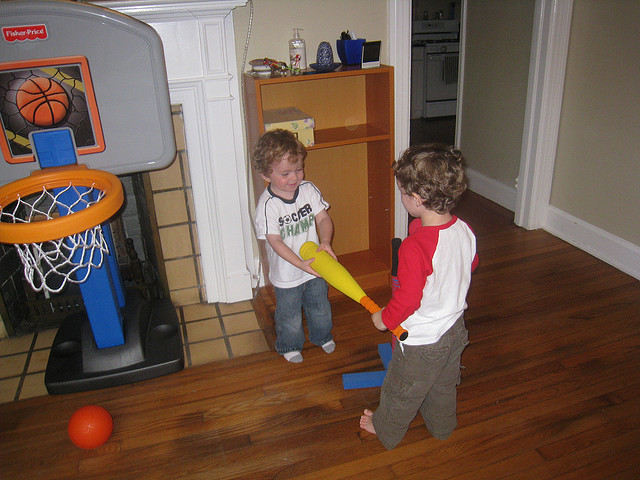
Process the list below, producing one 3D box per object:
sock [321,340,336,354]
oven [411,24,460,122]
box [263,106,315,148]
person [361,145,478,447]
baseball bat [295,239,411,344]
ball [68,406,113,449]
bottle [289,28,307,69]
[{"bbox_3d":[0.049,0.548,2.542,0.060,0.035,0.050,-13,27,-16],"label":"sock"},{"bbox_3d":[1.496,-2.163,6.435,0.634,1.133,0.319,-4,25,1],"label":"oven"},{"bbox_3d":[-0.168,-0.599,2.630,0.252,0.168,0.389,-7,26,-5],"label":"box"},{"bbox_3d":[0.390,0.257,1.957,0.502,1.188,0.327,-22,30,-33],"label":"person"},{"bbox_3d":[0.149,0.267,2.378,0.130,0.131,0.672,-39,56,-9],"label":"baseball bat"},{"bbox_3d":[-0.973,0.802,2.107,0.182,0.106,0.265,3,19,-15],"label":"ball"},{"bbox_3d":[-0.118,-1.004,2.601,0.088,0.194,0.171,-5,25,0],"label":"bottle"}]
